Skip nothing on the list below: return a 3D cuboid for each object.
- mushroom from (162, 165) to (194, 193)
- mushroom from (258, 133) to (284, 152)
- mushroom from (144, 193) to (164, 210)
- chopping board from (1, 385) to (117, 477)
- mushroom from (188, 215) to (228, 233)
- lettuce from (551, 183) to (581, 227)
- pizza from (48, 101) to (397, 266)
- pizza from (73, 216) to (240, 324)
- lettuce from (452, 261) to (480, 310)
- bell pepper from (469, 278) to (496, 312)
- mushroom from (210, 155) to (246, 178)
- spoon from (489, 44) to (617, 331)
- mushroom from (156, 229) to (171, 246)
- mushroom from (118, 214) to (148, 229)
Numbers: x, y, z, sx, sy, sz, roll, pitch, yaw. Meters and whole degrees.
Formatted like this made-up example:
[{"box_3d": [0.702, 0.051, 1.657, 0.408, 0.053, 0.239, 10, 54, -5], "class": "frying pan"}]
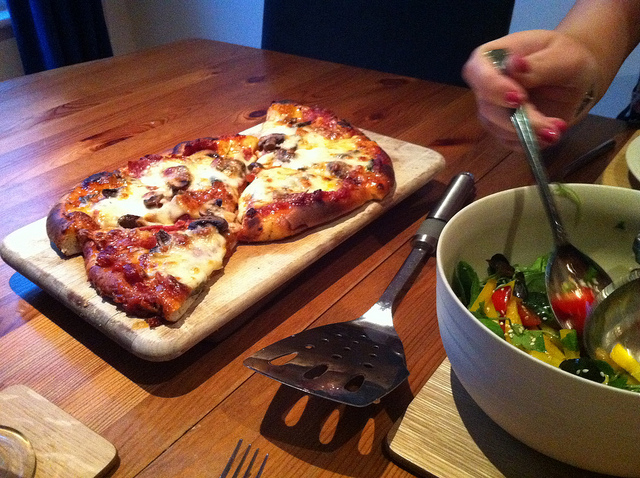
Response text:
[{"box_3d": [-0.278, -0.118, 0.882, 0.068, 0.019, 0.057, -16, 52, -17], "class": "mushroom"}, {"box_3d": [-0.107, -0.222, 1.050, 0.059, 0.017, 0.041, -32, 50, -18], "class": "mushroom"}, {"box_3d": [-0.308, -0.067, 0.826, 0.033, 0.008, 0.026, 19, 56, 11], "class": "mushroom"}, {"box_3d": [-0.328, 0.229, 0.523, 0.184, 0.006, 0.066, 22, 44, 22], "class": "chopping board"}, {"box_3d": [-0.198, -0.025, 0.775, 0.053, 0.013, 0.031, -2, 31, -3], "class": "mushroom"}, {"box_3d": [0.336, -0.049, 0.618, 0.031, 0.015, 0.071, -11, 71, 3], "class": "lettuce"}, {"box_3d": [-0.158, -0.096, 0.955, 0.627, 0.076, 0.358, -22, 45, -32], "class": "pizza"}, {"box_3d": [-0.291, 0.030, 0.714, 0.258, 0.048, 0.227, 10, 41, 8], "class": "pizza"}, {"box_3d": [0.182, 0.057, 0.555, 0.041, 0.014, 0.056, -12, 94, -2], "class": "lettuce"}, {"box_3d": [0.213, 0.071, 0.573, 0.020, 0.012, 0.082, 33, 43, 17], "class": "bell pepper"}, {"box_3d": [-0.196, -0.145, 0.948, 0.060, 0.015, 0.052, 26, 32, 15], "class": "mushroom"}, {"box_3d": [0.298, -0.091, 0.663, 0.118, 0.057, 0.430, -23, 74, -3], "class": "spoon"}, {"box_3d": [-0.255, -0.002, 0.727, 0.023, 0.011, 0.024, -11, 58, -20], "class": "mushroom"}, {"box_3d": [-0.329, -0.030, 0.786, 0.049, 0.010, 0.022, 5, 46, -9], "class": "mushroom"}]
